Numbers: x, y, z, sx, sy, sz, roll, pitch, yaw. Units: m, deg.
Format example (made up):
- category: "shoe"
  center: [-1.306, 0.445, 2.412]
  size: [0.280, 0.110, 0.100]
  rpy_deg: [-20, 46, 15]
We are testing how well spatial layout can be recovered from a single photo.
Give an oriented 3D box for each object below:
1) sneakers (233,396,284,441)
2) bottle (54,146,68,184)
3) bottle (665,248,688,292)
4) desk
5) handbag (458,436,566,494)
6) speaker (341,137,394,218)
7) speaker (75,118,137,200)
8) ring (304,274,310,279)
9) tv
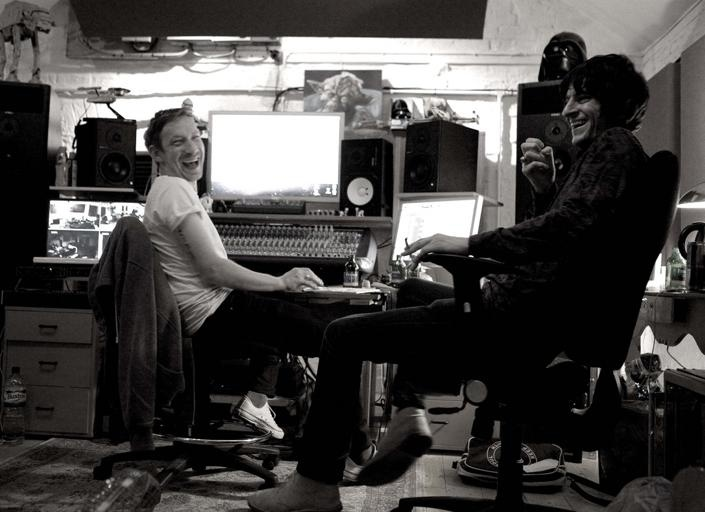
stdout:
- category: "sneakers"
  center: [-0.441, 0.811, 3.527]
  size: [0.305, 0.146, 0.098]
  rpy_deg: [36, -22, -27]
- category: "bottle"
  center: [-1.885, -0.582, 4.569]
  size: [0.083, 0.273, 0.178]
  rpy_deg: [4, -1, -24]
- category: "bottle"
  center: [1.694, 0.066, 3.717]
  size: [0.123, 0.177, 0.130]
  rpy_deg: [-2, 29, 1]
- category: "desk"
  center: [-1.408, 0.611, 4.397]
  size: [1.510, 1.008, 0.833]
  rpy_deg: [0, -7, 2]
- category: "handbag"
  center: [0.778, 1.041, 3.475]
  size: [0.506, 0.145, 0.373]
  rpy_deg: [0, 4, 7]
- category: "speaker"
  center: [0.081, -0.555, 4.714]
  size: [0.365, 0.477, 0.351]
  rpy_deg: [-2, 13, -13]
- category: "speaker"
  center: [-1.579, -0.664, 4.622]
  size: [0.292, 0.421, 0.356]
  rpy_deg: [2, 6, -22]
- category: "ring"
  center: [-0.205, 0.096, 3.150]
  size: [0.023, 0.021, 0.005]
  rpy_deg: [7, -9, -32]
- category: "tv"
  center: [-0.511, -0.635, 4.617]
  size: [0.944, 0.616, 0.027]
  rpy_deg: [3, 8, 13]
